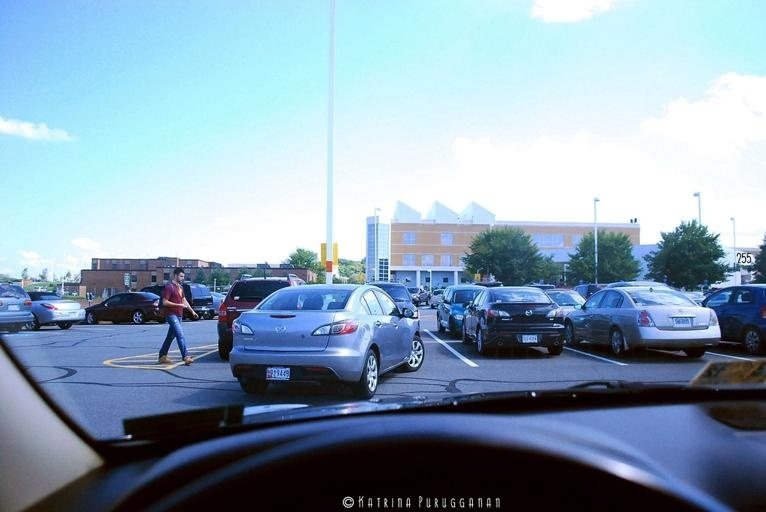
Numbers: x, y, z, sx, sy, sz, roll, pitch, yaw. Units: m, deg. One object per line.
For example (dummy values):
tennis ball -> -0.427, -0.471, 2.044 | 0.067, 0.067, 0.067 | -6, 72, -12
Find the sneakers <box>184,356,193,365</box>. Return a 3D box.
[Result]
sneakers -> -3.647, 1.958, 11.226 | 0.113, 0.135, 0.338 | 0, -1, -7

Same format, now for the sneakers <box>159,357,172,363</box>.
sneakers -> -4.117, 1.961, 11.334 | 0.177, 0.121, 0.089 | -7, 13, -38
